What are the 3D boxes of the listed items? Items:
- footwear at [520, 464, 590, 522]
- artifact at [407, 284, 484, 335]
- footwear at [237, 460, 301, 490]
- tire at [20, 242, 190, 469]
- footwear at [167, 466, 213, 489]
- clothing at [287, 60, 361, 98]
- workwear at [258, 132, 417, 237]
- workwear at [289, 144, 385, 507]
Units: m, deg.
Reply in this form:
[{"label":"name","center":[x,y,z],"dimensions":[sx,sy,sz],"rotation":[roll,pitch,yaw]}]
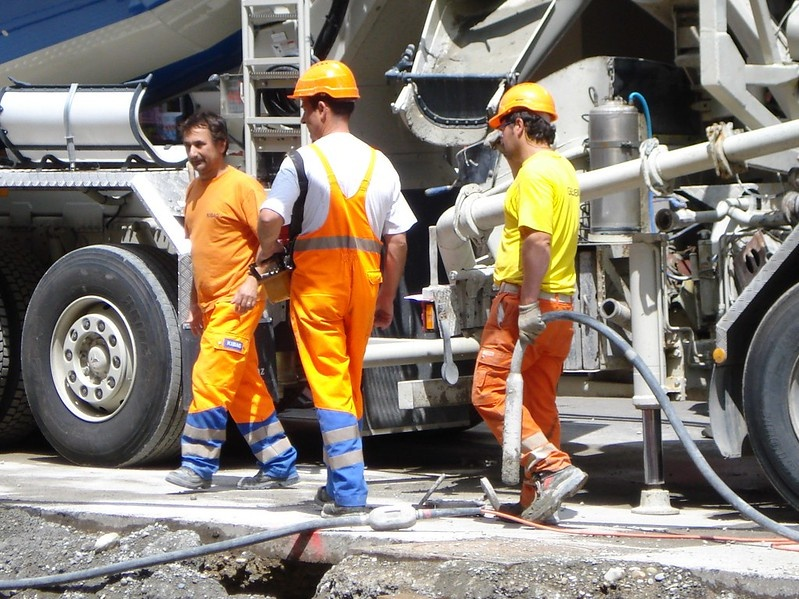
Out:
[{"label":"footwear","center":[0.680,0.868,4.705],"dimensions":[0.299,0.265,0.179],"rotation":[1,3,19]},{"label":"artifact","center":[0.256,0.059,5.818],"dimensions":[0.396,0.259,0.261],"rotation":[2,-1,-31]},{"label":"footwear","center":[-0.717,0.972,5.765],"dimensions":[0.318,0.160,0.124],"rotation":[2,-7,-5]},{"label":"tire","center":[-1.770,0.358,6.433],"dimensions":[1.323,1.394,0.496],"rotation":[2,0,42]},{"label":"footwear","center":[-1.084,0.927,5.464],"dimensions":[0.246,0.115,0.094],"rotation":[23,-3,-32]},{"label":"clothing","center":[-0.346,-1.034,4.996],"dimensions":[0.332,0.189,0.260],"rotation":[6,16,29]},{"label":"workwear","center":[-0.280,-0.493,4.998],"dimensions":[0.713,0.609,0.328],"rotation":[1,22,-15]},{"label":"workwear","center":[-0.291,0.110,4.817],"dimensions":[0.415,1.634,0.316],"rotation":[0,2,-4]}]
